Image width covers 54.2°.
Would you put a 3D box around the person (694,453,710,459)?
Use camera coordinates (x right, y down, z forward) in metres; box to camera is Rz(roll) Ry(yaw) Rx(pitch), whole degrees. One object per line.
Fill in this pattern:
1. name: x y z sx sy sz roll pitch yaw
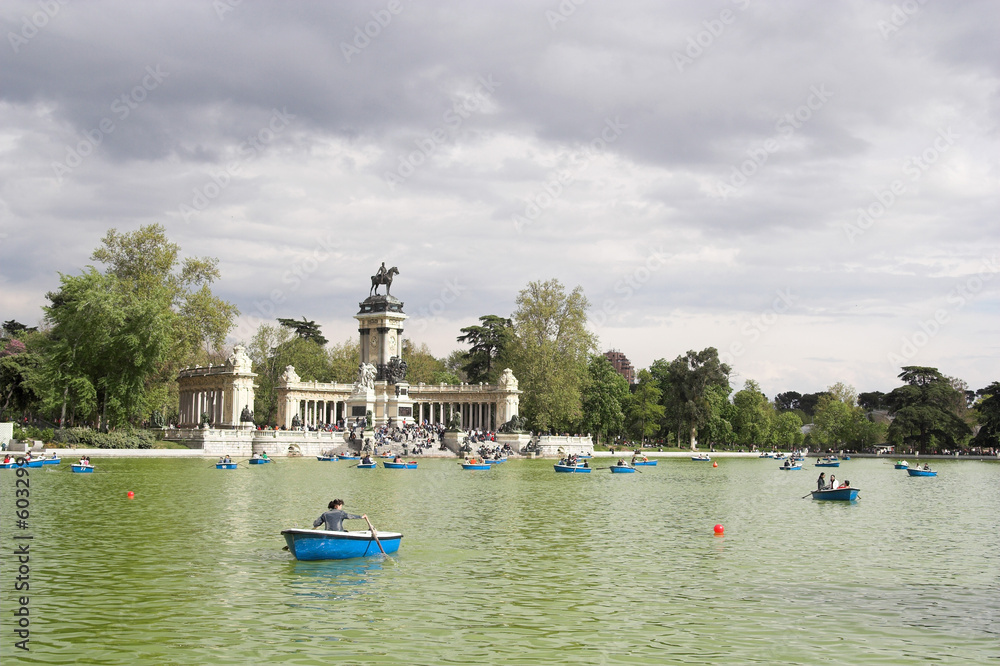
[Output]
1. person: 25.375 15.655 122.942 1.382 0.655 1.913 3 1 28

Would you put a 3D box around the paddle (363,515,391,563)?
1. paddle: -4.650 7.864 37.012 0.499 2.407 0.348 -31 33 -25

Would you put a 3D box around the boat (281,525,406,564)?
1. boat: -5.533 7.617 35.106 3.602 0.883 1.521 8 -15 -29
